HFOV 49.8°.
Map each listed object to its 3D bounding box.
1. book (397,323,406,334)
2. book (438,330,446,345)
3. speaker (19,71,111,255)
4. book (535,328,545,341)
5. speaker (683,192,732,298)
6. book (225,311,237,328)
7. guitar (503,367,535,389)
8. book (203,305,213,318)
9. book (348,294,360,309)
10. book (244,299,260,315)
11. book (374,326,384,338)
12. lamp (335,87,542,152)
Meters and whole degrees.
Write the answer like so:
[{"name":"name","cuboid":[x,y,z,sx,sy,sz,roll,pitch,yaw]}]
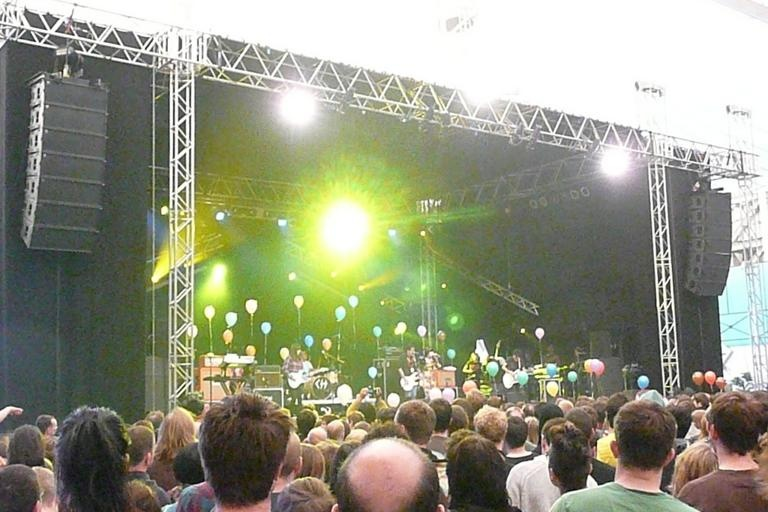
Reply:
[{"name":"book","cuboid":[0.541,2.221,25.756,0.330,0.381,0.550,0,-12,0]},{"name":"book","cuboid":[1.766,2.449,25.283,0.324,0.503,0.317,0,-14,-4]},{"name":"speaker","cuboid":[-5.800,-1.679,14.984,1.389,3.026,0.948,6,-13,-25]},{"name":"book","cuboid":[4.753,2.372,25.192,0.344,0.481,0.343,0,12,12]},{"name":"speaker","cuboid":[8.993,-0.384,22.775,1.237,2.842,0.827,2,-12,-7]},{"name":"book","cuboid":[-4.308,1.811,23.220,0.446,0.430,0.207,1,8,-22]},{"name":"guitar","cuboid":[3.677,3.330,22.568,0.702,0.281,0.109,-10,-15,-7]},{"name":"book","cuboid":[-4.835,1.547,22.941,0.255,0.330,0.197,23,3,23]},{"name":"book","cuboid":[-0.970,1.394,25.273,0.333,0.403,0.344,10,13,40]},{"name":"book","cuboid":[-3.846,1.462,23.901,0.440,0.448,0.105,0,7,-6]},{"name":"book","cuboid":[-0.189,2.343,25.550,0.317,0.371,0.314,0,-13,2]},{"name":"lamp","cuboid":[1.403,-3.388,19.318,4.438,0.977,1.032,7,5,-28]}]
